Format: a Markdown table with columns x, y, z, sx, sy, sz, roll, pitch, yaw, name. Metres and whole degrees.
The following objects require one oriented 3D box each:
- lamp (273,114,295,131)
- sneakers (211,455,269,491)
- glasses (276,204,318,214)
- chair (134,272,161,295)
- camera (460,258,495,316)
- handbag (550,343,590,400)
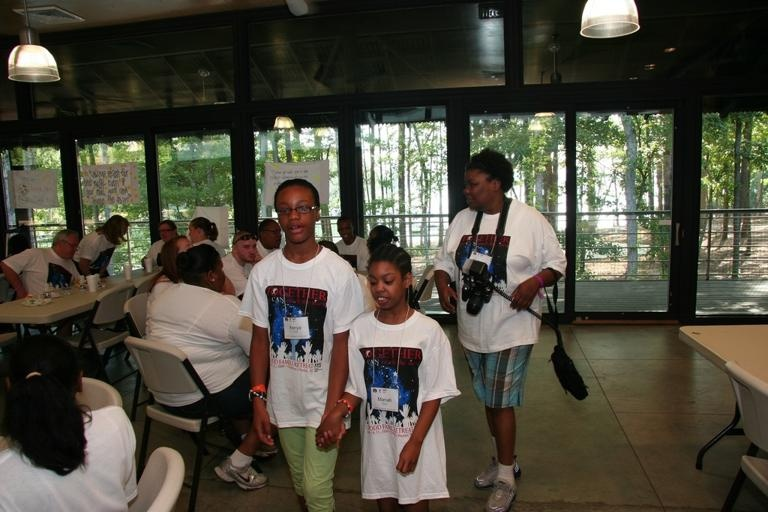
| x | y | z | sx | sy | sz | roll | pitch | yaw | name |
| --- | --- | --- | --- | --- | --- | --- | --- | --- | --- |
| -1.208 | -1.616 | 6.731 | 0.179 | 0.101 | 0.177 | 0 | -1 | 2 | lamp |
| -0.979 | 1.534 | 3.981 | 0.405 | 0.211 | 0.170 | 21 | 15 | -6 | sneakers |
| -0.498 | -0.270 | 3.211 | 0.232 | 0.049 | 0.059 | -3 | 10 | -7 | glasses |
| -2.125 | 0.247 | 5.014 | 0.161 | 0.195 | 0.143 | 11 | 20 | 10 | chair |
| 0.645 | 0.185 | 3.689 | 0.132 | 0.360 | 0.263 | 35 | -15 | -33 | camera |
| 1.212 | 0.789 | 3.720 | 0.132 | 0.409 | 0.236 | -25 | -5 | -18 | handbag |
